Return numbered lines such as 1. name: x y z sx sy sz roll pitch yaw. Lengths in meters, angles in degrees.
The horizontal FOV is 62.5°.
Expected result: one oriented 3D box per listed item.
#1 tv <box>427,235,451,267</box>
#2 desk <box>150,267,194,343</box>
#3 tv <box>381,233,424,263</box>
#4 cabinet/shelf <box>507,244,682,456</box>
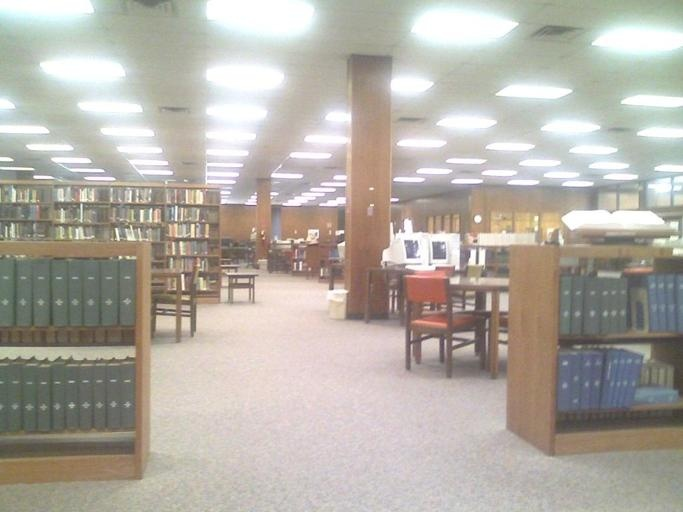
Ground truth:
1. tv: 1.621 -0.093 9.462 0.415 0.677 0.721 0 3 8
2. desk: -2.353 0.711 7.771 0.678 0.823 0.928 1 3 0
3. tv: 0.958 -0.084 8.842 0.454 0.473 0.658 1 1 38
4. cabinet/shelf: 1.732 0.646 3.855 1.429 1.241 0.754 2 -2 -8
